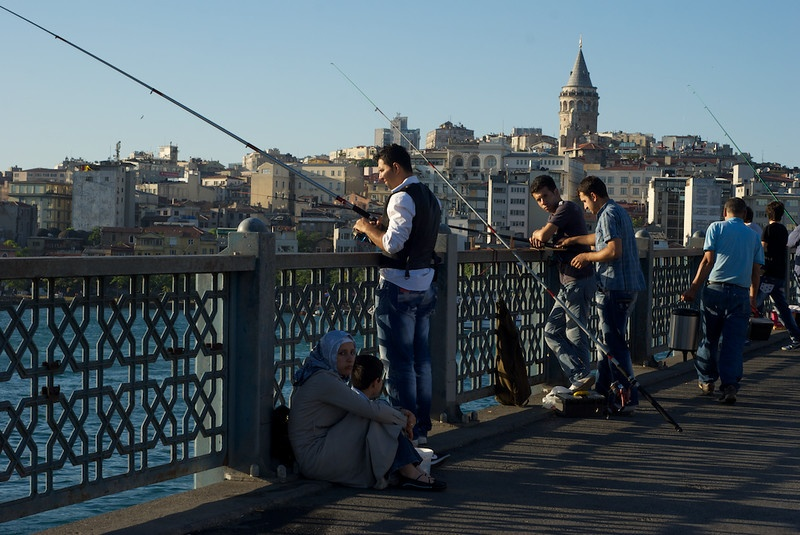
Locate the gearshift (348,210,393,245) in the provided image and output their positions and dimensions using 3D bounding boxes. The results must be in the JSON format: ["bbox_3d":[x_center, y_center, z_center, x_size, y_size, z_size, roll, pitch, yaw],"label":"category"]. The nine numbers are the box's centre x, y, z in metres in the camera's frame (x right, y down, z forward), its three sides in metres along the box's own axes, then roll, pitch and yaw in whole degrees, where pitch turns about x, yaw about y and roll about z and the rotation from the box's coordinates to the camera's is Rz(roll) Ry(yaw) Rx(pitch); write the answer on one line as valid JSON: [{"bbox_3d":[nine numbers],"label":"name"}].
[{"bbox_3d":[-0.216,-0.273,9.993,0.199,0.072,0.245,28,18,-1],"label":"gearshift"}]

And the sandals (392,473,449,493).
[{"bbox_3d":[0.113,1.417,9.295,0.326,0.116,0.118,-2,-3,2],"label":"sandals"}]

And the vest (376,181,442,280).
[{"bbox_3d":[0.071,-0.288,10.264,0.557,0.939,0.717,1,2,9],"label":"vest"}]

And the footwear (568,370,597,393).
[{"bbox_3d":[1.414,0.912,11.183,0.099,0.262,0.111,26,35,-22],"label":"footwear"}]

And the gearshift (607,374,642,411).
[{"bbox_3d":[1.690,0.993,11.005,0.187,0.246,0.259,2,-18,-3],"label":"gearshift"}]

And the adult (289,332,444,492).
[{"bbox_3d":[-0.239,0.945,9.492,1.013,0.968,0.459,3,2,-12],"label":"adult"}]

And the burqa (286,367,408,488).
[{"bbox_3d":[-0.338,1.051,9.570,0.831,0.840,0.604,-3,3,-4],"label":"burqa"}]

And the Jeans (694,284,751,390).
[{"bbox_3d":[2.679,0.557,11.875,0.405,0.857,0.626,0,2,-7],"label":"Jeans"}]

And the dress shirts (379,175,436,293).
[{"bbox_3d":[0.053,-0.231,9.880,0.419,0.802,0.319,0,2,1],"label":"dress shirts"}]

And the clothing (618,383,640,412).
[{"bbox_3d":[1.760,1.021,11.047,0.157,0.185,0.203,1,-4,-44],"label":"clothing"}]
